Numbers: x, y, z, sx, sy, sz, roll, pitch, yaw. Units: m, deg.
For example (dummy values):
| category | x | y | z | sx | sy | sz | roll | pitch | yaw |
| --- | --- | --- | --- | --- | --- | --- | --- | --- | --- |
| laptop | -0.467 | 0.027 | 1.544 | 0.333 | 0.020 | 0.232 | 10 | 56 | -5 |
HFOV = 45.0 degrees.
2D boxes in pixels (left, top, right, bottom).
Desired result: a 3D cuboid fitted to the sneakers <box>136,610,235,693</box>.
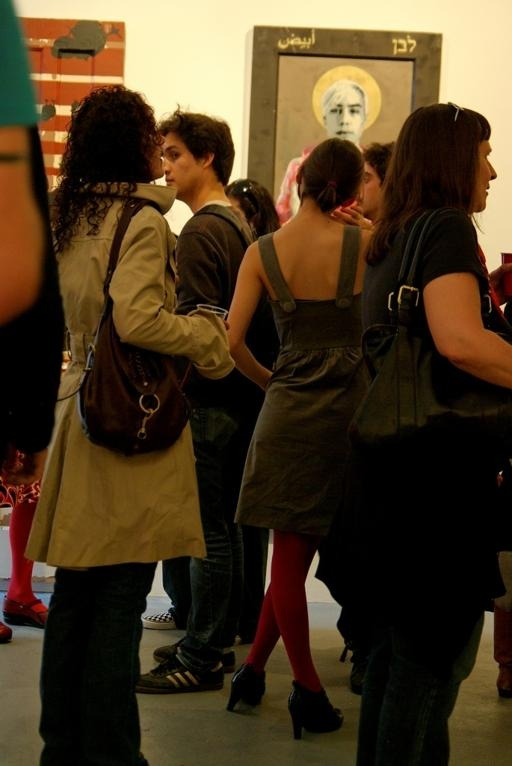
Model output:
| category | x | y | z | sx | sy | sz | roll | pitch | yaw |
| --- | --- | --- | --- | --- | --- | --- | --- | --- | --- |
| sneakers | -0.257 | 0.955 | 2.262 | 0.241 | 0.096 | 0.313 | 2 | -2 | -2 |

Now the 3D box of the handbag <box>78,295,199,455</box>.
| category | x | y | z | sx | sy | sz | roll | pitch | yaw |
| --- | --- | --- | --- | --- | --- | --- | --- | --- | --- |
| handbag | -0.283 | -0.016 | 1.431 | 0.307 | 0.430 | 0.176 | 13 | -22 | -37 |

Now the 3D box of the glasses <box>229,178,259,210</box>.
| category | x | y | z | sx | sy | sz | roll | pitch | yaw |
| --- | --- | --- | --- | --- | --- | --- | --- | --- | --- |
| glasses | -0.060 | -0.838 | 2.762 | 0.128 | 0.154 | 0.067 | -1 | 8 | 0 |

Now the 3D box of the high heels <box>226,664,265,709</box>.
| category | x | y | z | sx | sy | sz | roll | pitch | yaw |
| --- | --- | --- | --- | --- | --- | --- | --- | --- | --- |
| high heels | -0.019 | 1.024 | 2.149 | 0.079 | 0.137 | 0.227 | 8 | 3 | 16 |

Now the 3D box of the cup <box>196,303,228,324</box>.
| category | x | y | z | sx | sy | sz | roll | pitch | yaw |
| --- | --- | --- | --- | --- | --- | --- | --- | --- | --- |
| cup | -0.123 | -0.192 | 1.660 | 0.072 | 0.054 | 0.067 | 12 | -3 | 1 |
